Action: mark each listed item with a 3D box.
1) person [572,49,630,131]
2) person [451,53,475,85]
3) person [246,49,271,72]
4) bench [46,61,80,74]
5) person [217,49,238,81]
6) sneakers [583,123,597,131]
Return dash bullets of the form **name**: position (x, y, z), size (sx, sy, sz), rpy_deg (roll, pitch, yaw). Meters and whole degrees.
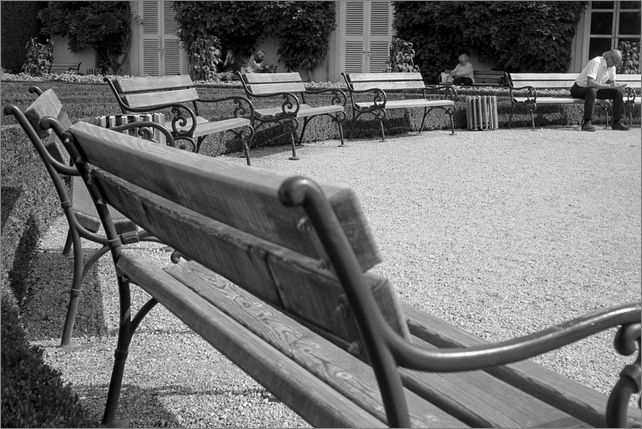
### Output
- **person**: position (6.015, -2.745, 11.884), size (1.121, 1.661, 1.240), rpy_deg (-10, 17, -39)
- **person**: position (5.260, -5.501, 20.512), size (0.830, 1.093, 1.178), rpy_deg (3, 18, 14)
- **person**: position (-2.541, -6.349, 22.476), size (0.888, 0.841, 1.566), rpy_deg (-1, 18, 3)
- **bench**: position (-11.470, -6.603, 24.425), size (1.312, 0.476, 1.074), rpy_deg (-3, 18, -5)
- **person**: position (-3.889, -6.215, 22.461), size (0.701, 1.221, 1.162), rpy_deg (0, 9, 7)
- **sneakers**: position (5.660, -1.838, 11.491), size (0.317, 0.149, 0.158), rpy_deg (-3, 20, 4)
